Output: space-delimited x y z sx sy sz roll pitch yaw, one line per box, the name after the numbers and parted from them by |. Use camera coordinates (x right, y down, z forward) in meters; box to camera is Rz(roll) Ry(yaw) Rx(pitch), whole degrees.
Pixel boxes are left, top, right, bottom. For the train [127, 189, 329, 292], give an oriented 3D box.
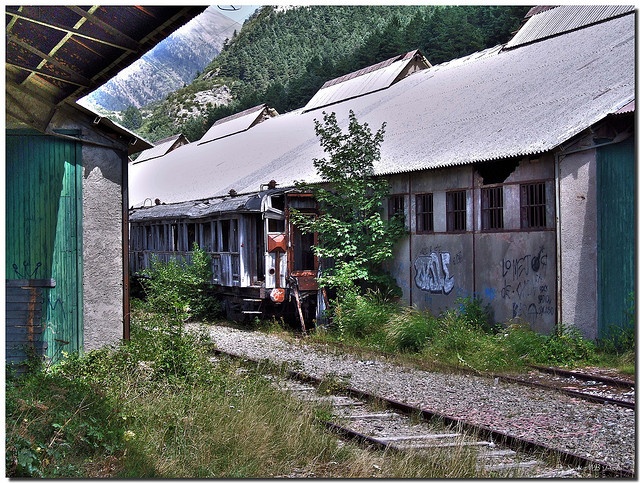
-4.791 0.406 23.452 3.411 4.183 14.181 3 -2 -35 | train
